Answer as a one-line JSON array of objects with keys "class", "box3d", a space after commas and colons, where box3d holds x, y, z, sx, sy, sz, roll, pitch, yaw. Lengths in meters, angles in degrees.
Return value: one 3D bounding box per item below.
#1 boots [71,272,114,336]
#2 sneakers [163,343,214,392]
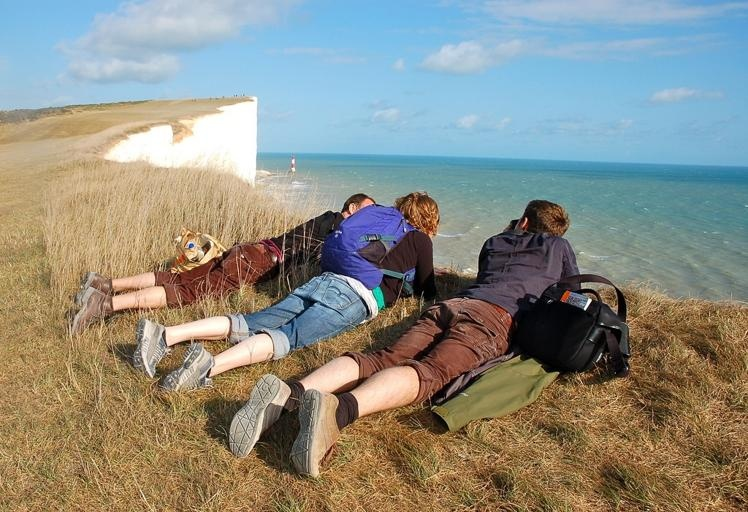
[{"class": "boots", "box3d": [-3.397, 0.611, 5.800, 0.320, 0.666, 0.233, 27, 0, -38]}, {"class": "sneakers", "box3d": [-1.904, 1.161, 4.912, 0.582, 0.227, 0.259, -31, 16, -6]}]
